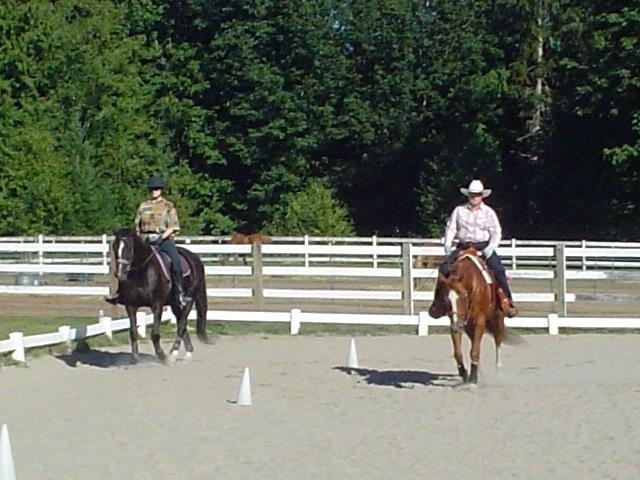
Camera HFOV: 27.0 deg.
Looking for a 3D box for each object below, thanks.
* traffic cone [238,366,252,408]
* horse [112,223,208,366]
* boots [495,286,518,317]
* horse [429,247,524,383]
[{"bbox_3d":[-2.279,4.346,40.018,0.455,1.062,0.859,-4,5,-2],"label":"traffic cone"},{"bbox_3d":[-5.176,1.866,43.923,1.890,4.341,6.302,-4,-3,21],"label":"horse"},{"bbox_3d":[5.795,1.992,41.433,0.537,0.911,0.309,-20,10,46],"label":"boots"},{"bbox_3d":[5.214,2.284,43.154,1.826,4.457,7.699,-3,1,22],"label":"horse"}]
